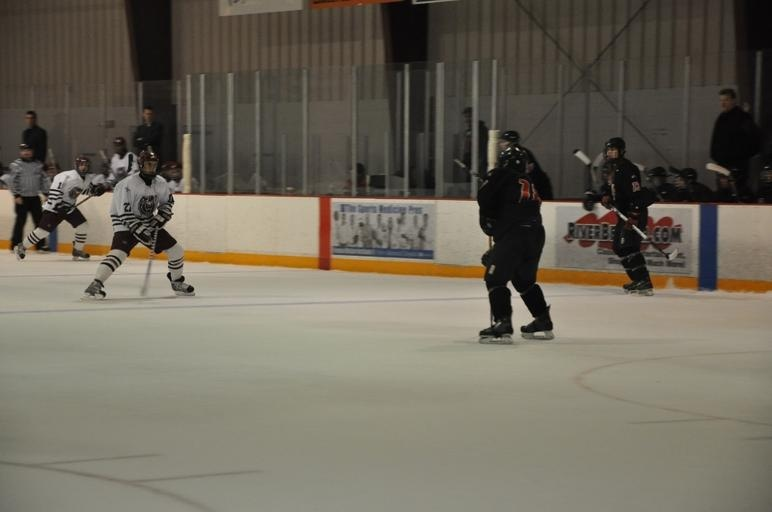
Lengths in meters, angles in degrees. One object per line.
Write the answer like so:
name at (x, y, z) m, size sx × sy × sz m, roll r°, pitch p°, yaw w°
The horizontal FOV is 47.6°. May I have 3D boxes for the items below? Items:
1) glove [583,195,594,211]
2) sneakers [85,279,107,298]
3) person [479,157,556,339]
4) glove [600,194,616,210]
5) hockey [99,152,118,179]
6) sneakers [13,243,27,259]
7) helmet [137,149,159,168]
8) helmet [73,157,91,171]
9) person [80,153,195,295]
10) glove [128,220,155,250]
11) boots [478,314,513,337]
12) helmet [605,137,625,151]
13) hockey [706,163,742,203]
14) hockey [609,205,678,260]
glove at (2.802, -0.717, 12.070) m, size 0.149 × 0.192 × 0.205 m, roll -3°, pitch -3°, yaw 21°
sneakers at (-3.563, 0.412, 10.748) m, size 0.211 × 0.241 × 0.321 m, roll -1°, pitch 7°, yaw -4°
person at (1.201, -0.090, 8.308) m, size 0.688 × 1.826 × 0.831 m, roll 5°, pitch 9°, yaw 31°
glove at (3.024, -0.725, 11.920) m, size 0.123 × 0.189 × 0.175 m, roll 12°, pitch -17°, yaw 16°
hockey at (-5.333, -1.711, 16.810) m, size 0.242 × 0.703 × 0.522 m, roll 3°, pitch 2°, yaw -25°
sneakers at (-6.583, -0.077, 15.706) m, size 0.150 × 0.112 × 0.340 m, roll -28°, pitch 39°, yaw -12°
helmet at (-3.003, -1.211, 10.991) m, size 0.225 × 0.206 × 0.353 m, roll -2°, pitch 7°, yaw -18°
helmet at (-5.313, -1.617, 15.394) m, size 0.243 × 0.275 × 0.284 m, roll 8°, pitch -10°, yaw -37°
person at (-3.081, -0.397, 11.092) m, size 1.194 × 1.828 × 0.760 m, roll -2°, pitch 8°, yaw -18°
glove at (-3.050, -0.249, 11.021) m, size 0.323 × 0.362 × 0.230 m, roll -1°, pitch 7°, yaw -8°
boots at (1.025, 0.670, 8.177) m, size 0.309 × 0.225 × 0.226 m, roll 1°, pitch 7°, yaw 10°
helmet at (3.075, -1.475, 11.761) m, size 0.258 × 0.212 × 0.202 m, roll 7°, pitch 0°, yaw 25°
hockey at (4.836, -1.000, 12.170) m, size 0.593 × 0.569 × 0.358 m, roll -3°, pitch 7°, yaw 33°
hockey at (3.517, -0.303, 11.831) m, size 1.341 × 0.187 × 0.446 m, roll 35°, pitch -42°, yaw -21°
